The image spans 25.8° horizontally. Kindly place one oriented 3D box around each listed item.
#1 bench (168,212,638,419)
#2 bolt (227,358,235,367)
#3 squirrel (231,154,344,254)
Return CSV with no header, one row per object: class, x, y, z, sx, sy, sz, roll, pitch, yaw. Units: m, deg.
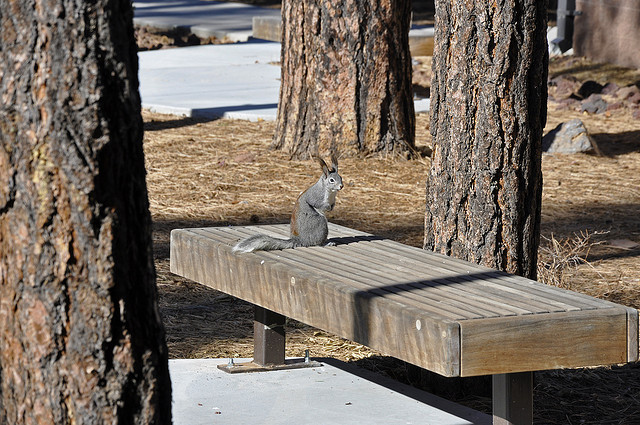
bench,0.498,0.503,8.851,2.873,0.611,1.059,9,18,40
bolt,-0.633,1.058,9.810,0.050,0.054,0.049,-3,7,-35
squirrel,-0.233,-0.033,9.515,0.842,0.613,0.288,-8,-9,-21
